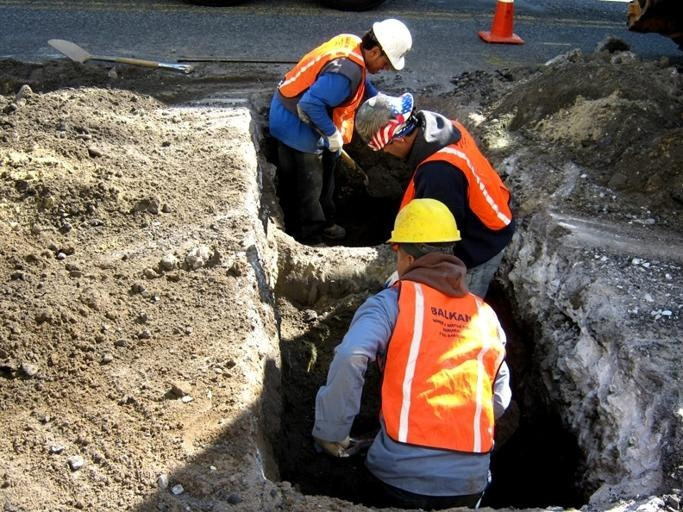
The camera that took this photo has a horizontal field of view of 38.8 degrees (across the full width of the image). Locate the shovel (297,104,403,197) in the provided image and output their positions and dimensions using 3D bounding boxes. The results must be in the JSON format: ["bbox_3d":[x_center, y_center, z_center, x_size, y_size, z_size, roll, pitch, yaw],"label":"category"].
[{"bbox_3d":[0.060,-0.969,8.699,0.844,0.669,0.197,8,18,-3],"label":"shovel"}]

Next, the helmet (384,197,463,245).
[{"bbox_3d":[0.578,-0.246,6.774,0.447,0.189,0.323,5,24,3],"label":"helmet"}]

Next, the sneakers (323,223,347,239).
[{"bbox_3d":[-0.084,-0.254,9.630,0.266,0.104,0.096,-6,48,-10],"label":"sneakers"}]

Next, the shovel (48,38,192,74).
[{"bbox_3d":[-2.064,-2.000,9.834,2.119,0.274,0.454,4,20,-1],"label":"shovel"}]

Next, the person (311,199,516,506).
[{"bbox_3d":[0.580,0.860,6.688,1.240,1.557,1.130,18,40,16],"label":"person"}]

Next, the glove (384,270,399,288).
[{"bbox_3d":[0.392,0.180,7.722,0.041,0.119,0.116,36,46,-7],"label":"glove"}]

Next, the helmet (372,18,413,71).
[{"bbox_3d":[0.432,-1.779,7.994,0.235,0.418,0.308,-17,22,41],"label":"helmet"}]
